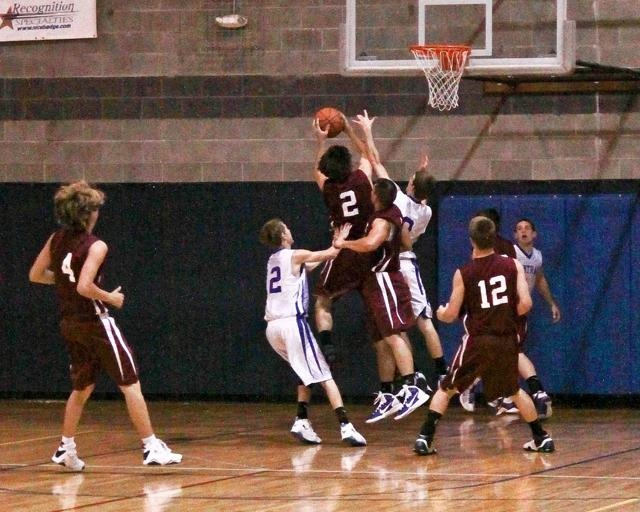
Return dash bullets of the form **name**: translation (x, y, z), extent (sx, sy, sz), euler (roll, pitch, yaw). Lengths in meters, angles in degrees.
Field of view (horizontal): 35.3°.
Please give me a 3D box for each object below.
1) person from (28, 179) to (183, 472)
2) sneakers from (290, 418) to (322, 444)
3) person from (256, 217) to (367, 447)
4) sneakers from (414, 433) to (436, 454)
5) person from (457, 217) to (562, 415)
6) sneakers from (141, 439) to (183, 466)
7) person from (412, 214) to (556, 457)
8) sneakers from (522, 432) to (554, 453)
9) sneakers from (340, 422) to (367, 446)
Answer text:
- **person**: translation (-1.681, 0.523, 7.580), extent (0.919, 2.177, 0.588), euler (-2, 3, -18)
- **sneakers**: translation (-0.111, 1.468, 8.418), extent (0.130, 0.158, 0.336), euler (-13, -33, 38)
- **person**: translation (-0.083, 0.623, 8.397), extent (0.824, 1.862, 0.316), euler (1, 3, 26)
- **sneakers**: translation (0.819, 1.476, 7.857), extent (0.092, 0.114, 0.234), euler (1, -3, 21)
- **person**: translation (1.536, 0.580, 9.128), extent (1.077, 1.979, 0.595), euler (1, 28, 17)
- **sneakers**: translation (-1.212, 1.497, 7.766), extent (0.374, 0.219, 0.135), euler (0, 0, -6)
- **person**: translation (1.213, 0.629, 7.688), extent (0.881, 1.863, 0.298), euler (0, 3, 6)
- **sneakers**: translation (1.723, 1.461, 7.924), extent (0.111, 0.137, 0.306), euler (-1, -1, -31)
- **sneakers**: translation (0.290, 1.469, 8.281), extent (0.115, 0.135, 0.293), euler (-6, -9, 16)
